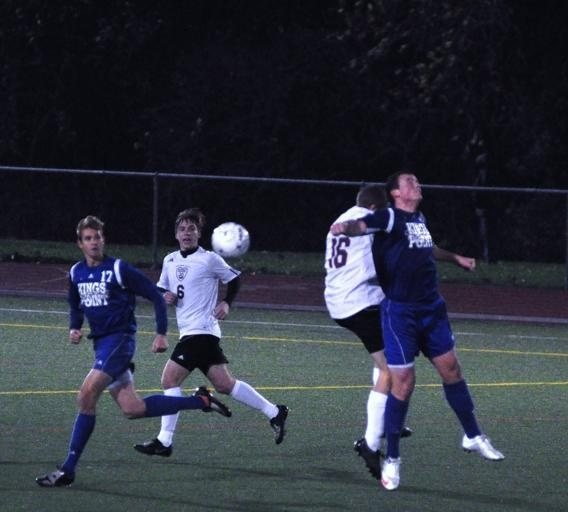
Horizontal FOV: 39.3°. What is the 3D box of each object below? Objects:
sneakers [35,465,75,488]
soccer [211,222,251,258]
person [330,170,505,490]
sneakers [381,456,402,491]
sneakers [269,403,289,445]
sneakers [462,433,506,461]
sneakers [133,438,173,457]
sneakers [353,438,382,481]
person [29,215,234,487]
[{"bbox_3d":[-1.611,1.515,5.487,0.310,0.140,0.111,2,9,2],"label":"sneakers"},{"bbox_3d":[-1.102,-0.230,15.794,0.812,0.800,0.779,-6,-2,-28],"label":"soccer"},{"bbox_3d":[0.942,0.508,5.881,0.940,2.258,0.629,-2,5,-45],"label":"person"},{"bbox_3d":[0.766,1.542,5.686,0.139,0.237,0.253,3,4,8],"label":"sneakers"},{"bbox_3d":[-0.036,1.397,6.594,0.167,0.334,0.119,6,-10,-10],"label":"sneakers"},{"bbox_3d":[1.497,1.447,6.084,0.381,0.159,0.142,11,14,34],"label":"sneakers"},{"bbox_3d":[-0.992,1.476,6.186,0.329,0.168,0.119,9,-3,-1],"label":"sneakers"},{"bbox_3d":[0.621,1.493,5.896,0.181,0.369,0.125,-20,9,12],"label":"sneakers"},{"bbox_3d":[-1.251,0.647,6.021,1.373,1.868,0.824,0,5,-33],"label":"person"}]
